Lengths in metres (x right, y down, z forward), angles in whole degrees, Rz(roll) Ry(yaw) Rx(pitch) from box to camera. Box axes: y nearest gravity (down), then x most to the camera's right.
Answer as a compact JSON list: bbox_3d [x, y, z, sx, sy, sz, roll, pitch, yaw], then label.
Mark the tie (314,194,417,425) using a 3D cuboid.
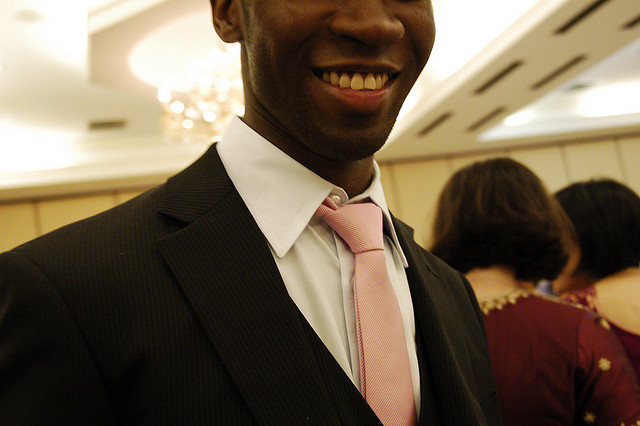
[{"bbox_3d":[0.140,0.283,1.771,0.268,0.796,0.093,-1,-26,-18],"label":"tie"}]
